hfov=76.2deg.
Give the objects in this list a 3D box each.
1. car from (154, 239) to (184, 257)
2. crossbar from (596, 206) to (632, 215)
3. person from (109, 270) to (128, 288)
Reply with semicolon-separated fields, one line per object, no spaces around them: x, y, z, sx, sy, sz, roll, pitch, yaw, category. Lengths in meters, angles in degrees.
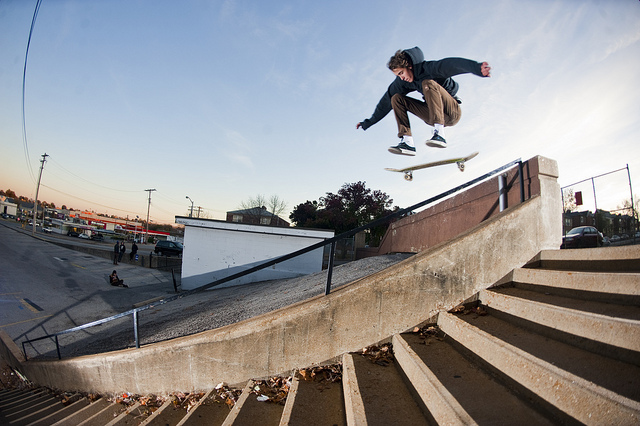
-11.236;2.607;30.313;1.941;1.136;0.938;3;-5;2;car
6.093;-0.047;8.456;0.603;0.151;0.140;0;-6;26;crossbar
-9.465;3.051;18.629;1.004;0.918;0.579;1;-7;-42;person
